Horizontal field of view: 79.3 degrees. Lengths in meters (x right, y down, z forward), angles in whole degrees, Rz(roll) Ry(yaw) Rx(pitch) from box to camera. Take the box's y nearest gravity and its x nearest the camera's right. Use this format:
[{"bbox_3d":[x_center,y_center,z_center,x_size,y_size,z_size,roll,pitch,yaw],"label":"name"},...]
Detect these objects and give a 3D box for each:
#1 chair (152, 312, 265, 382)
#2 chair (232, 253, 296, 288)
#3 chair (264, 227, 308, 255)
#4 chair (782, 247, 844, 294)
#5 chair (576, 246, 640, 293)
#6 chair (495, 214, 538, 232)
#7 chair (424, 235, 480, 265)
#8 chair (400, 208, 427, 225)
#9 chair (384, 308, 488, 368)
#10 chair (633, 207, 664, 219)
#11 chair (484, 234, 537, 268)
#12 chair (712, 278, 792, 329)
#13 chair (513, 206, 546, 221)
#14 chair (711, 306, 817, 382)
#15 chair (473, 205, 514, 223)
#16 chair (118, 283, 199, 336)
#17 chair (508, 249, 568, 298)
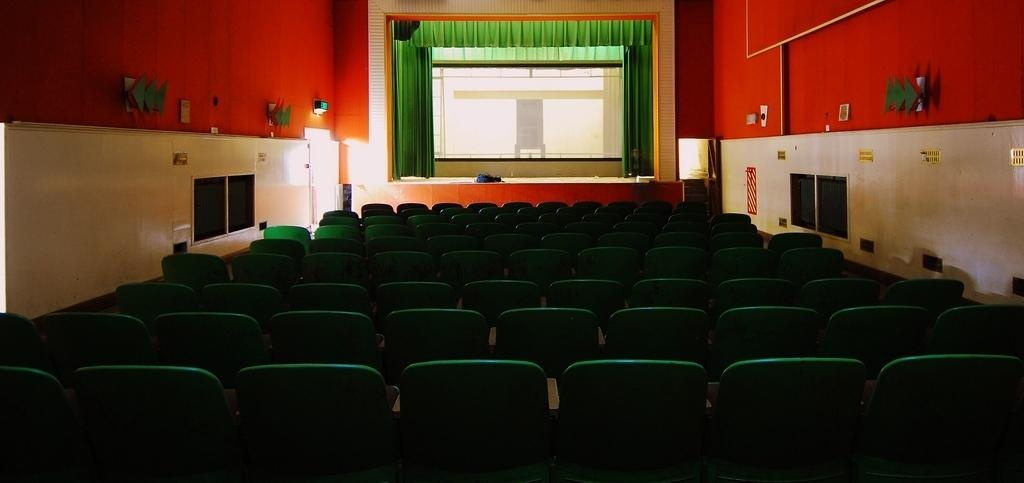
[{"bbox_3d":[-3.258,1.006,6.654,1.010,0.887,0.790,5,20,-19],"label":"chair"},{"bbox_3d":[-3.397,0.371,8.601,0.589,0.662,0.598,3,22,-4],"label":"chair"},{"bbox_3d":[-3.692,0.045,10.243,0.588,0.645,0.577,0,9,-12],"label":"chair"},{"bbox_3d":[4.114,0.362,8.620,0.692,0.715,0.622,1,10,7],"label":"chair"},{"bbox_3d":[1.315,0.391,8.517,0.668,0.647,0.638,0,-2,6],"label":"chair"},{"bbox_3d":[0.068,-0.355,10.976,0.420,0.442,0.391,-1,2,-22],"label":"chair"},{"bbox_3d":[-0.884,0.141,9.088,0.464,0.558,0.473,0,-2,-14],"label":"chair"},{"bbox_3d":[-1.916,-0.469,11.931,0.352,0.420,0.374,-1,7,-16],"label":"chair"},{"bbox_3d":[-0.810,0.982,6.718,0.802,0.878,0.761,1,6,-1],"label":"chair"},{"bbox_3d":[2.631,-0.526,11.889,0.355,0.298,0.337,-1,-3,23],"label":"chair"},{"bbox_3d":[-0.040,0.107,9.213,0.526,0.549,0.490,1,17,1],"label":"chair"},{"bbox_3d":[2.843,0.710,7.373,0.678,0.689,0.595,1,2,7],"label":"chair"},{"bbox_3d":[0.335,-0.517,11.789,0.310,0.358,0.332,-1,4,-16],"label":"chair"},{"bbox_3d":[2.646,0.952,6.716,1.014,0.895,0.768,1,2,3],"label":"chair"},{"bbox_3d":[-0.371,-0.515,11.791,0.372,0.433,0.374,-2,3,-20],"label":"chair"},{"bbox_3d":[-4.183,0.676,7.401,0.708,0.778,0.677,3,32,-8],"label":"chair"},{"bbox_3d":[0.324,0.438,8.456,0.665,0.740,0.627,0,2,-1],"label":"chair"}]
